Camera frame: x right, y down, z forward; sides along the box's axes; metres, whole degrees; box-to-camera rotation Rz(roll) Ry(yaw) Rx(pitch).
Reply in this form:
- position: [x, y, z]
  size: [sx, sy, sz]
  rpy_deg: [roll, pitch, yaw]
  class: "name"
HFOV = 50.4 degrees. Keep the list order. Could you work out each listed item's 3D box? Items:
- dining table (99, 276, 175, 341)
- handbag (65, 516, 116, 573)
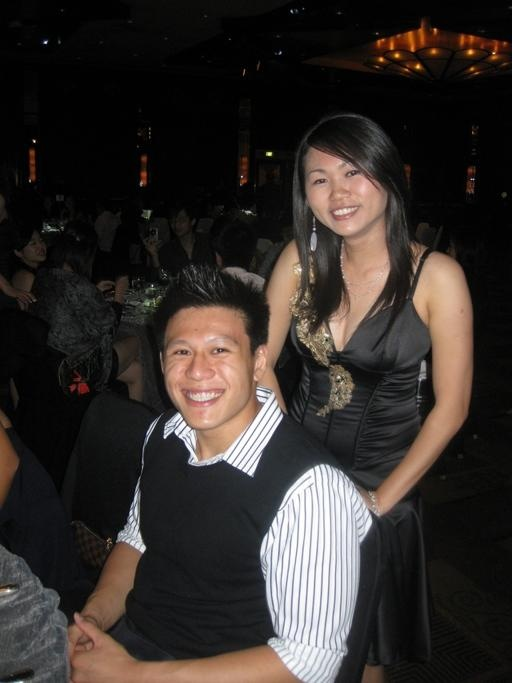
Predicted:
- position: [-1.061, -0.213, 4.960]
  size: [0.762, 0.193, 0.794]
  rpy_deg: [-10, 32, 22]
  class: "dining table"
- position: [-0.475, 0.591, 1.656]
  size: [0.176, 0.107, 0.066]
  rpy_deg: [50, 14, 1]
  class: "handbag"
